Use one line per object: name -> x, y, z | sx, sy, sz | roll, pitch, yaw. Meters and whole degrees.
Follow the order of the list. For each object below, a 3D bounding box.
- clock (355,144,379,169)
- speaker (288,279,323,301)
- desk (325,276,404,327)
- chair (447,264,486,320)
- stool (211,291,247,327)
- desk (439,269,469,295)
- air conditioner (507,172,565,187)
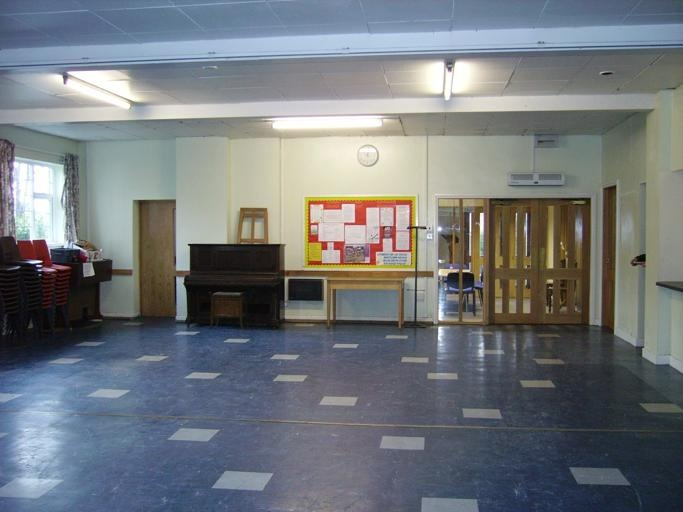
clock -> 0.504, -1.888, 10.405 | 0.416, 0.426, 0.043 | 7, 3, 1
speaker -> -0.678, 0.685, 10.767 | 0.715, 0.391, 0.463 | 3, -4, 4
desk -> 0.397, 0.814, 10.079 | 1.302, 0.846, 0.665 | 1, 2, 15
chair -> 2.531, 0.674, 11.082 | 0.870, 1.217, 0.925 | 1, 16, 12
stool -> -2.036, 0.900, 10.226 | 0.737, 0.727, 0.568 | 1, 7, 2
desk -> 2.213, 0.504, 10.705 | 0.391, 0.638, 0.458 | 0, 11, 11
air conditioner -> 3.577, -1.393, 10.062 | 1.005, 0.269, 0.275 | 2, 9, 16
